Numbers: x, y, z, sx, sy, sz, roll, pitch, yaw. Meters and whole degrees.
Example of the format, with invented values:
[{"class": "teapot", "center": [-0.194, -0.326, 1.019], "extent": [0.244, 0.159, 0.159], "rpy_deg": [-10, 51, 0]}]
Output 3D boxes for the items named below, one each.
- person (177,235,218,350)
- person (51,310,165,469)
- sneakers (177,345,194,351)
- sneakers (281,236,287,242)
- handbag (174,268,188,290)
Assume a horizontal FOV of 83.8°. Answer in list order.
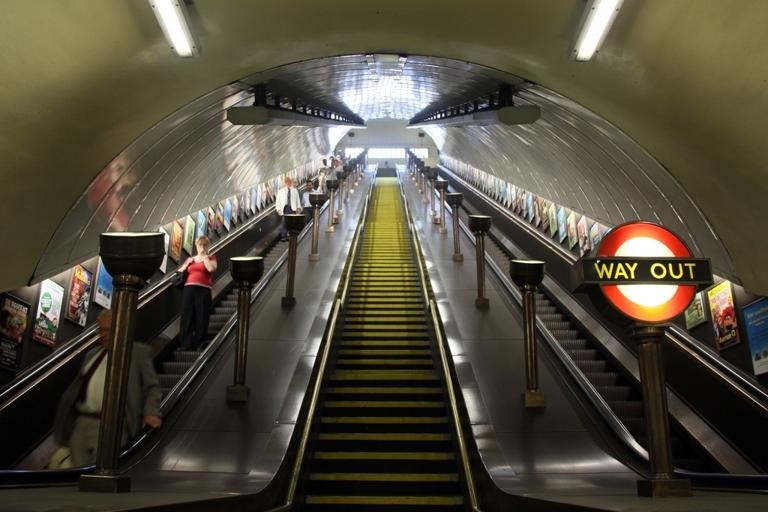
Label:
[{"class": "person", "center": [-3.251, 0.704, 7.456], "extent": [0.657, 2.111, 0.503], "rpy_deg": [6, 6, 37]}, {"class": "person", "center": [-2.384, 1.111, 3.701], "extent": [0.820, 1.193, 0.451], "rpy_deg": [-2, 7, -39]}, {"class": "sneakers", "center": [-3.543, 1.650, 7.679], "extent": [0.225, 0.108, 0.325], "rpy_deg": [3, -4, -17]}, {"class": "sneakers", "center": [-3.614, -0.602, 15.509], "extent": [0.136, 0.110, 0.317], "rpy_deg": [7, -2, -30]}, {"class": "handbag", "center": [-3.600, 0.398, 7.688], "extent": [0.281, 0.373, 0.144], "rpy_deg": [7, -12, 17]}]
